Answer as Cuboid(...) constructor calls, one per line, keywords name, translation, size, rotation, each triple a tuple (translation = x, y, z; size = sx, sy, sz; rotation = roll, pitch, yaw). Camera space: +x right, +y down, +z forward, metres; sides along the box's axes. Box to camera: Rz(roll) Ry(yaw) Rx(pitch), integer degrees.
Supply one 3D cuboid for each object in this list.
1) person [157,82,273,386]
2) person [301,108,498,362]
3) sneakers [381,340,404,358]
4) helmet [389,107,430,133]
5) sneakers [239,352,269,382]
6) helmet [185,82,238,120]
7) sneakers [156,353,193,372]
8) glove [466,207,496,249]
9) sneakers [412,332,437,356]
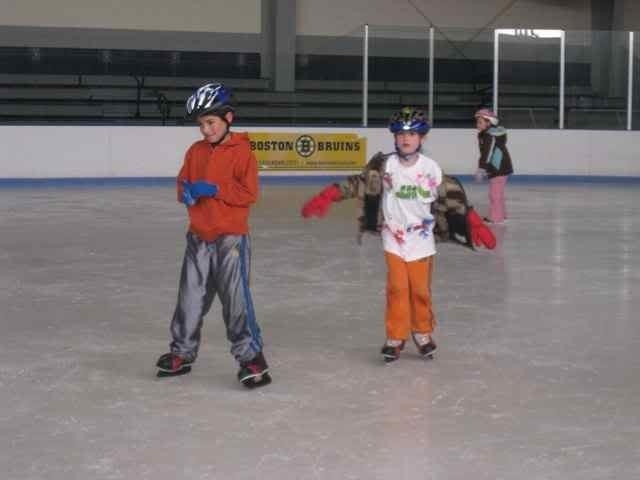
Cuboid(name="person", translation=(-0.676, -0.035, 5.875), size=(0.742, 1.898, 0.490), rotation=(1, 13, 4))
Cuboid(name="person", translation=(0.586, -0.032, 6.215), size=(1.146, 1.701, 0.422), rotation=(0, 13, 2))
Cuboid(name="sneakers", translation=(0.486, 0.755, 6.225), size=(0.073, 0.092, 0.198), rotation=(-2, -5, 18))
Cuboid(name="helmet", translation=(0.590, -0.793, 6.124), size=(0.253, 0.176, 0.170), rotation=(0, 13, 2))
Cuboid(name="sneakers", translation=(-0.415, 0.821, 5.855), size=(0.236, 0.221, 0.129), rotation=(5, -32, -16))
Cuboid(name="helmet", translation=(-0.686, -0.863, 5.801), size=(0.211, 0.191, 0.265), rotation=(19, 31, 34))
Cuboid(name="sneakers", translation=(-0.947, 0.809, 6.022), size=(0.223, 0.095, 0.119), rotation=(-1, 25, -43))
Cuboid(name="glove", translation=(1.074, -0.076, 6.123), size=(0.187, 0.237, 0.291), rotation=(1, 13, 5))
Cuboid(name="sneakers", translation=(0.717, 0.718, 6.340), size=(0.089, 0.101, 0.239), rotation=(-1, 10, -2))
